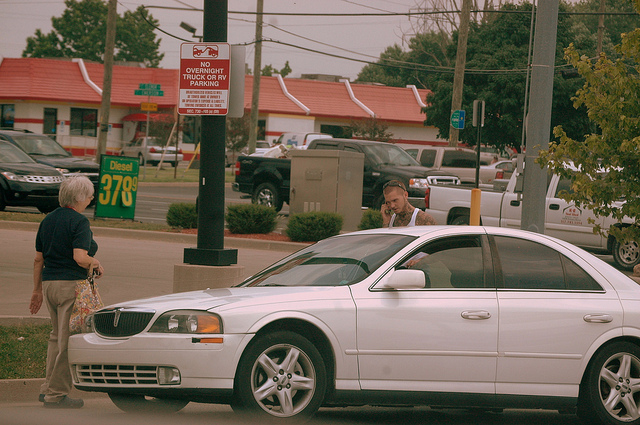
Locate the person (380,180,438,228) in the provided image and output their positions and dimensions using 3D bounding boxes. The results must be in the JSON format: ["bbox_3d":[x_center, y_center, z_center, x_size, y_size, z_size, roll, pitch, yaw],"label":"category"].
[{"bbox_3d":[1.548,-0.177,22.233,0.900,0.828,0.489,-3,13,12],"label":"person"}]

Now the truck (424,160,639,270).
[{"bbox_3d":[4.864,-0.039,28.965,4.783,2.029,2.395,3,2,34],"label":"truck"}]

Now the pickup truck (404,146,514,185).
[{"bbox_3d":[5.176,-1.916,44.476,3.924,1.543,1.837,4,1,-3],"label":"pickup truck"}]

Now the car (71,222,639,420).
[{"bbox_3d":[1.117,1.915,19.860,9.146,2.753,3.663,4,-6,-20],"label":"car"}]

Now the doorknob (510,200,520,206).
[{"bbox_3d":[4.696,-0.270,29.333,0.218,0.151,0.072,4,14,35],"label":"doorknob"}]

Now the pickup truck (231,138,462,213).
[{"bbox_3d":[0.402,-1.154,34.631,5.939,1.995,2.587,1,2,29],"label":"pickup truck"}]

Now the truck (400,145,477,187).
[{"bbox_3d":[4.238,-1.694,44.346,2.760,1.238,1.566,5,8,35],"label":"truck"}]
